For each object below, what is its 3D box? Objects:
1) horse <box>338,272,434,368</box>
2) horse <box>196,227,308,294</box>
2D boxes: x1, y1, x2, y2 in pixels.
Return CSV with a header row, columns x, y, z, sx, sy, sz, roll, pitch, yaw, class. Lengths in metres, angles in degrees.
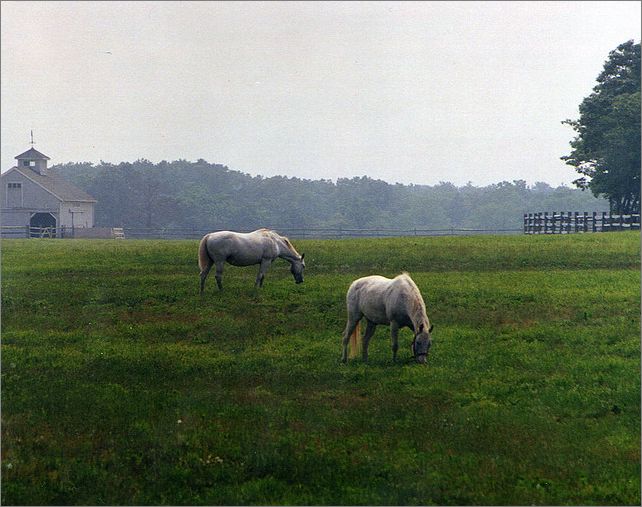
x,y,z,sx,sy,sz,roll,pitch,yaw,class
2.167,2.283,28.003,1.190,3.011,4.211,3,1,-33,horse
-2.885,0.299,34.255,4.046,2.417,1.178,0,2,-36,horse
